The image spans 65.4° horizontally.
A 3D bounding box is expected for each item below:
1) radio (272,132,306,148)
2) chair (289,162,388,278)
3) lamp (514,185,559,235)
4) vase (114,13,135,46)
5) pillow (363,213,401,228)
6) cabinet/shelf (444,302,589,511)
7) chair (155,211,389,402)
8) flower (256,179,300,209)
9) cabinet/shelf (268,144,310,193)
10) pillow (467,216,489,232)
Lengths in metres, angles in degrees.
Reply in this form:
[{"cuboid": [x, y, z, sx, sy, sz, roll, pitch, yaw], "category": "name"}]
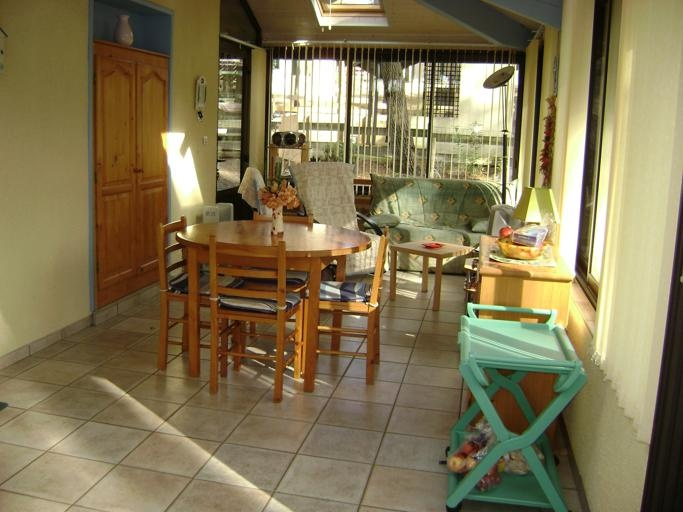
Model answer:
[{"cuboid": [-0.848, -1.845, 8.412, 0.358, 0.143, 0.308, -5, 18, -18], "category": "radio"}, {"cuboid": [-0.135, -0.491, 6.468, 1.142, 1.583, 1.383, -8, 16, -33], "category": "chair"}, {"cuboid": [1.243, -0.327, 3.457, 0.277, 0.313, 0.308, 7, 16, 36], "category": "lamp"}, {"cuboid": [-2.023, -2.076, 4.904, 0.128, 0.290, 0.238, 0, 14, -8], "category": "vase"}, {"cuboid": [0.525, -0.458, 6.948, 0.317, 0.112, 0.319, 4, 12, 15], "category": "pillow"}, {"cuboid": [0.873, 0.760, 2.737, 0.594, 0.872, 0.781, 5, 14, 13], "category": "cabinet/shelf"}, {"cuboid": [-0.501, 0.256, 3.959, 1.270, 0.981, 1.370, 4, 8, 0], "category": "chair"}, {"cuboid": [-0.477, -0.458, 3.971, 0.279, 0.243, 0.403, 0, 14, -9], "category": "flower"}, {"cuboid": [-0.827, -1.439, 8.654, 0.722, 0.705, 0.727, -2, 13, -6], "category": "cabinet/shelf"}, {"cuboid": [1.848, -0.407, 7.168, 0.301, 0.106, 0.352, 3, 21, 17], "category": "pillow"}]
